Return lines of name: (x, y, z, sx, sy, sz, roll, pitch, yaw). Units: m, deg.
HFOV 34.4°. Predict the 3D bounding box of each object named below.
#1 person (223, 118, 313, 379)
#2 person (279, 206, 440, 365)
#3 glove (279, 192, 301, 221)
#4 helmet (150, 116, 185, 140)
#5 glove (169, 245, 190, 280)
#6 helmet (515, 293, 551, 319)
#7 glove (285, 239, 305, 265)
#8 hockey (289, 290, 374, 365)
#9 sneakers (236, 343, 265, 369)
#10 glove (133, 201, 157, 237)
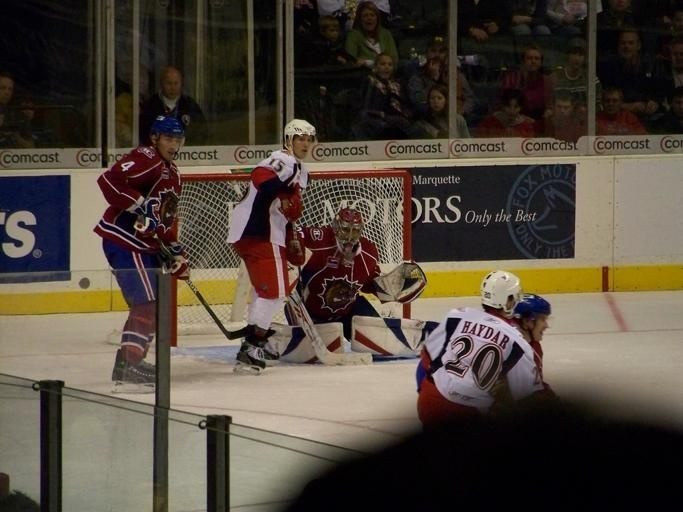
person: (-0.508, -0.067, 7.343, 0.497, 1.644, 0.731, 4, 13, 9)
person: (0.072, 0.216, 7.752, 1.121, 0.800, 0.636, -1, 21, -28)
glove: (-0.365, -0.331, 7.426, 0.052, 0.164, 0.185, 3, 2, 42)
helmet: (-1.146, -0.838, 7.111, 0.215, 0.186, 0.178, -3, 6, 14)
glove: (-1.079, 0.055, 7.265, 0.096, 0.265, 0.120, -2, 38, 8)
helmet: (0.990, 0.255, 5.699, 0.161, 0.134, 0.121, -2, 3, 5)
glove: (-0.323, -0.031, 7.430, 0.134, 0.164, 0.040, -2, 8, -2)
hockey: (-0.107, 0.504, 7.428, 0.131, 0.476, 0.505, -39, -26, 31)
sneakers: (-0.598, 0.657, 7.270, 0.139, 0.150, 0.225, 24, -10, -29)
glove: (-1.248, -0.240, 7.010, 0.103, 0.205, 0.154, -2, -21, 23)
